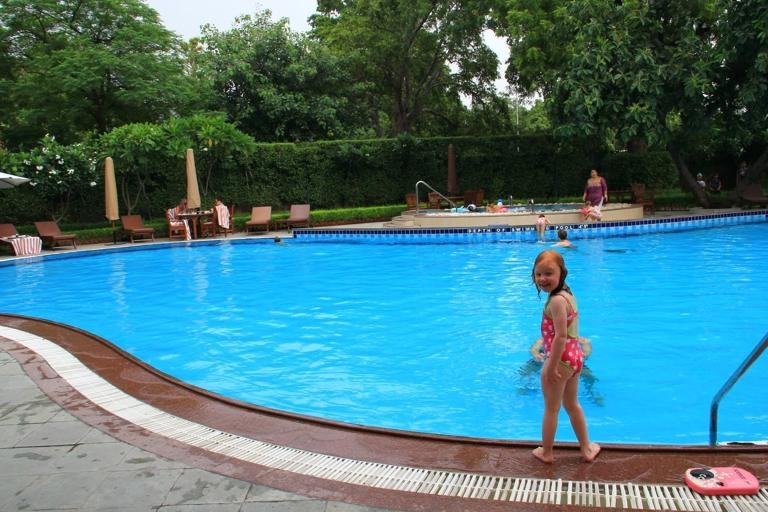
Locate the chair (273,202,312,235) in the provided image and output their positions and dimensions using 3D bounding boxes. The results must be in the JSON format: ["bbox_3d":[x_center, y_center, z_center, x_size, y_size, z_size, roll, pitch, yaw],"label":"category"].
[{"bbox_3d":[-3.789,-1.603,26.033,1.089,0.907,1.466,2,6,19],"label":"chair"}]

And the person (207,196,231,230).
[{"bbox_3d":[-6.785,-1.640,24.706,0.510,1.261,1.031,-4,7,45],"label":"person"}]

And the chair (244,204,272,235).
[{"bbox_3d":[-5.211,-1.463,25.314,1.017,0.917,1.233,0,11,5],"label":"chair"}]

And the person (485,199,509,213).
[{"bbox_3d":[4.376,-1.765,22.995,0.673,0.443,0.934,2,2,36],"label":"person"}]

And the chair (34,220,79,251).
[{"bbox_3d":[-12.108,-0.728,22.211,1.488,0.961,1.033,14,17,36],"label":"chair"}]

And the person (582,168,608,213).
[{"bbox_3d":[7.646,-2.355,21.851,0.743,1.491,2.815,7,14,18],"label":"person"}]

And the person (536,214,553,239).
[{"bbox_3d":[5.322,-0.966,20.510,0.342,0.869,1.021,5,14,11],"label":"person"}]

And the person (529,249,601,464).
[{"bbox_3d":[2.015,1.175,7.107,1.037,2.343,0.880,2,-1,-38],"label":"person"}]
